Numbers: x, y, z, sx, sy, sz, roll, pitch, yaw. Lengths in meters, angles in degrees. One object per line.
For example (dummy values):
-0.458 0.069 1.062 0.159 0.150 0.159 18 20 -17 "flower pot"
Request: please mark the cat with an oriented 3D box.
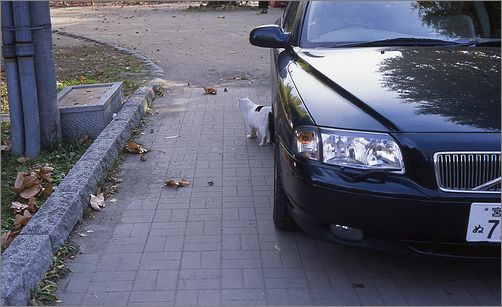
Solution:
0.125 -0.513 6.392 0.325 0.614 1.211 -8 20 -27 "cat"
